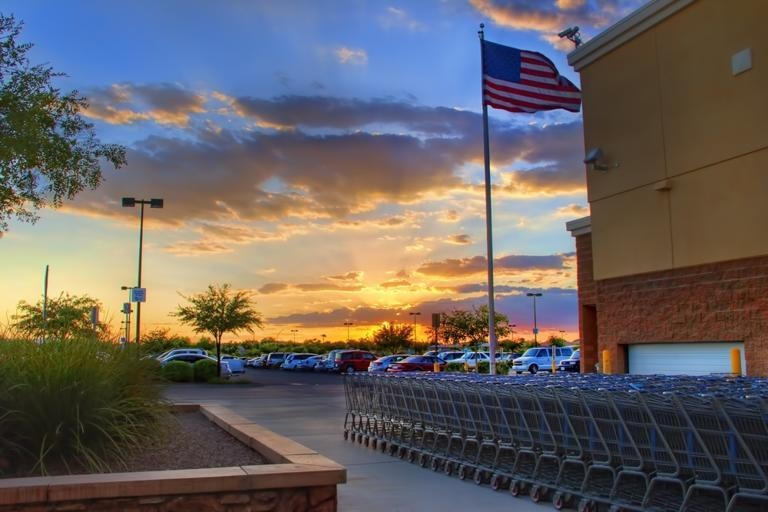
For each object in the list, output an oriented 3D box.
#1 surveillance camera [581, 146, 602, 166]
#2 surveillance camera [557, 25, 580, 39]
[{"bbox_3d":[6.440,-3.067,20.495,0.504,0.349,0.531,-12,-8,36],"label":"surveillance camera"},{"bbox_3d":[6.065,-7.269,21.806,0.767,0.229,0.372,-3,-7,-31],"label":"surveillance camera"}]
